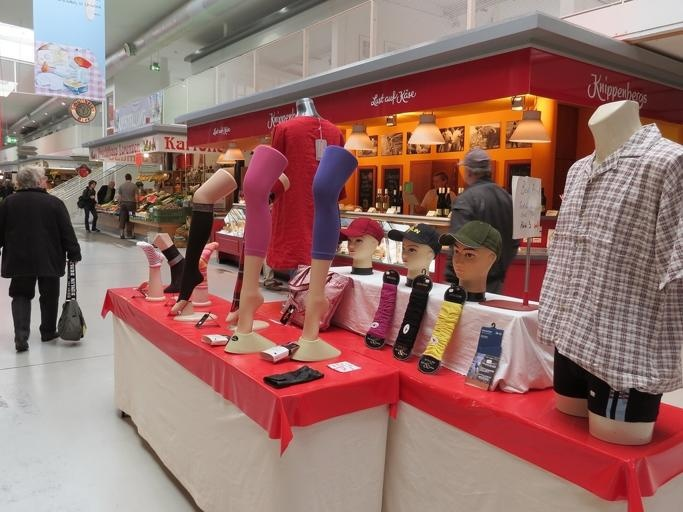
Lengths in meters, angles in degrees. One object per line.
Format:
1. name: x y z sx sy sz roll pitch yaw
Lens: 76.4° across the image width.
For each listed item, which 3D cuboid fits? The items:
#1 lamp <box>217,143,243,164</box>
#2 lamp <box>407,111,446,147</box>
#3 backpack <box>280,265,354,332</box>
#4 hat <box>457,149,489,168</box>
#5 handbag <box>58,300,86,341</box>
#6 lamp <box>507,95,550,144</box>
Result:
1. lamp: -2.444 -2.213 9.661 0.582 0.424 0.636 -1 8 4
2. lamp: 1.080 -1.573 5.466 0.470 0.377 0.485 1 8 3
3. backpack: -0.123 0.250 2.449 0.121 0.248 0.323 30 -10 -40
4. hat: 1.098 -0.794 3.599 0.164 0.131 0.228 -1 16 1
5. handbag: -2.922 0.628 4.678 0.235 0.421 0.435 -1 15 -40
6. lamp: 2.047 -1.459 4.683 0.434 0.468 0.450 3 11 8
